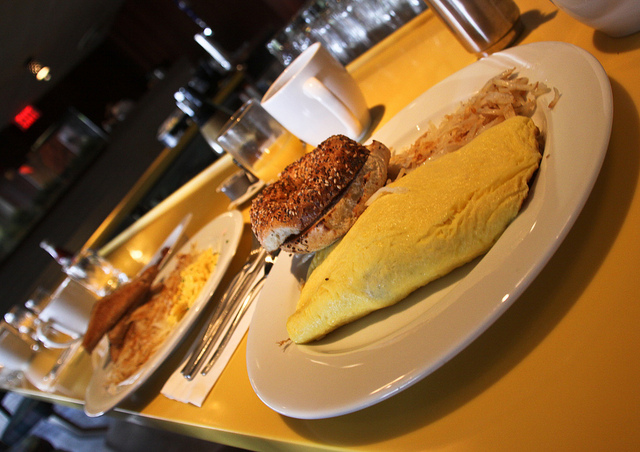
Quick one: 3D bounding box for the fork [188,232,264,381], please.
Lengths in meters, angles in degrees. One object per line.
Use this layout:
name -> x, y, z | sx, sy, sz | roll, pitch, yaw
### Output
fork -> -0.214, 0.127, 1.257 | 0.027, 0.095, 0.565 | -31, 32, 47

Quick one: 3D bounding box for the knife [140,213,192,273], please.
knife -> -0.560, 0.065, 1.708 | 0.311, 0.040, 0.025 | -64, -13, -48

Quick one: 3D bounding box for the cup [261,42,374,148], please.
cup -> -0.022, -0.369, 1.381 | 0.218, 0.243, 0.355 | -37, 31, 18

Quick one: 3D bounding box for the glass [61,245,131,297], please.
glass -> -0.818, 0.170, 1.741 | 0.193, 0.208, 0.138 | 9, 19, 40

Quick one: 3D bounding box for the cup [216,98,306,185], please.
cup -> -0.199, -0.277, 1.581 | 0.226, 0.250, 0.304 | -42, 11, 22

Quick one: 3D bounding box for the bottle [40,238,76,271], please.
bottle -> -1.807, 0.196, 3.206 | 0.127, 0.101, 0.245 | -57, -21, -8

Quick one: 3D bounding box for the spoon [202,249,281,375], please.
spoon -> -0.184, 0.210, 1.102 | 0.039, 0.025, 0.362 | -35, 25, 43

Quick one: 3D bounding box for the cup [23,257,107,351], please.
cup -> -0.975, 0.319, 1.729 | 0.360, 0.251, 0.283 | 56, 135, 50
